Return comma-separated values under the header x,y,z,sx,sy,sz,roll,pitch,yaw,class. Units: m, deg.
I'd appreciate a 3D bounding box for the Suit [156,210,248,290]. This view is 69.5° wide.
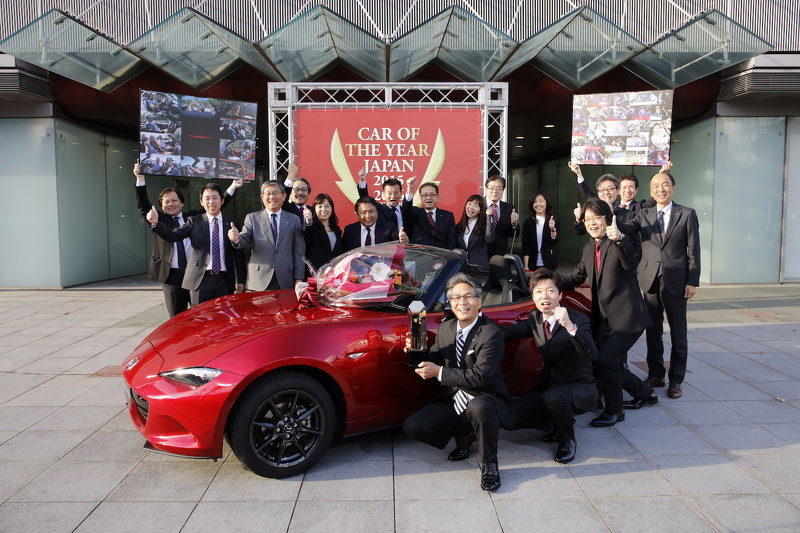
x,y,z,sx,sy,sz,roll,pitch,yaw,class
-2.589,-0.187,7.516,1.034,0.617,0.257,0,4,-30,Suit

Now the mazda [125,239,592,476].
x,y,z,sx,sy,sz,roll,pitch,yaw,class
-0.536,0.773,6.082,4.185,1.481,1.953,-1,7,-23,mazda

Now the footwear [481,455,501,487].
x,y,z,sx,sy,sz,roll,pitch,yaw,class
0.845,1.895,5.353,0.188,0.223,0.225,-1,9,8,footwear

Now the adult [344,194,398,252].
x,y,z,sx,sy,sz,roll,pitch,yaw,class
-0.372,-0.585,7.712,0.821,0.727,0.453,-10,29,-5,adult

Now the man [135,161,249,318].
x,y,z,sx,sy,sz,roll,pitch,yaw,class
-2.796,-0.189,8.160,1.381,2.629,0.458,-6,30,-22,man

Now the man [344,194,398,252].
x,y,z,sx,sy,sz,roll,pitch,yaw,class
-0.372,-0.585,7.712,0.821,0.728,0.453,-10,29,-5,man

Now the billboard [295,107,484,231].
x,y,z,sx,sy,sz,roll,pitch,yaw,class
-0.175,-1.657,9.234,2.141,1.563,0.048,0,0,-2,billboard

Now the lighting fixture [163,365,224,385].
x,y,z,sx,sy,sz,roll,pitch,yaw,class
-1.872,0.975,5.204,0.565,0.158,0.059,0,9,9,lighting fixture

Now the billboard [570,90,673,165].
x,y,z,sx,sy,sz,roll,pitch,yaw,class
3.597,-2.239,9.383,1.577,1.199,0.059,2,0,7,billboard

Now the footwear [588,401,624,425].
x,y,z,sx,sy,sz,roll,pitch,yaw,class
2.230,1.578,6.222,0.410,0.196,0.159,1,-2,-23,footwear

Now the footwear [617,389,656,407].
x,y,z,sx,sy,sz,roll,pitch,yaw,class
2.728,1.521,6.645,0.469,0.208,0.165,1,2,-12,footwear

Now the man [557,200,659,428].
x,y,z,sx,sy,sz,roll,pitch,yaw,class
2.167,0.484,6.275,1.301,2.442,1.270,-2,1,9,man

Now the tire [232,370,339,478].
x,y,z,sx,sy,sz,roll,pitch,yaw,class
-1.090,1.454,5.454,0.940,0.993,0.346,-5,9,-26,tire
